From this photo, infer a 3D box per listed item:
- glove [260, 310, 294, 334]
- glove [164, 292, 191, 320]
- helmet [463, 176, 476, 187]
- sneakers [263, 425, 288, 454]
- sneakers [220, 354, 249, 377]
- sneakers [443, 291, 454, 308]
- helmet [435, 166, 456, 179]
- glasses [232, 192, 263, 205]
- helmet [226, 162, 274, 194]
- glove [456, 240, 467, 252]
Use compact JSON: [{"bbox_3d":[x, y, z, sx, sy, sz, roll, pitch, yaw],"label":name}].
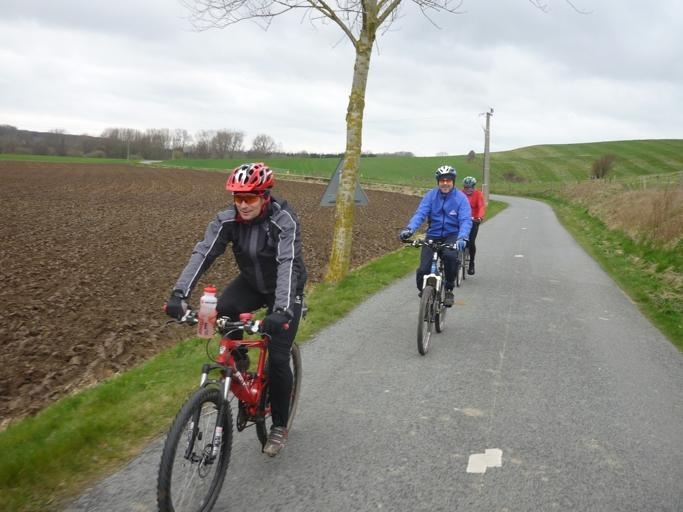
[{"bbox_3d":[-0.515,0.512,3.862,0.140,0.091,0.210,11,23,15],"label":"glove"},{"bbox_3d":[-1.320,0.355,3.876,0.173,0.248,0.089,-5,-18,-22],"label":"glove"},{"bbox_3d":[2.955,-1.768,11.270,0.248,0.295,0.317,-1,-4,13],"label":"helmet"},{"bbox_3d":[-0.584,1.646,4.338,0.142,0.076,0.252,1,44,24],"label":"sneakers"},{"bbox_3d":[-0.872,0.925,4.157,0.127,0.119,0.174,1,-3,1],"label":"sneakers"},{"bbox_3d":[1.684,0.665,7.678,0.152,0.250,0.240,1,-6,9],"label":"sneakers"},{"bbox_3d":[1.641,-1.372,7.698,0.226,0.219,0.324,1,-2,18],"label":"helmet"},{"bbox_3d":[-0.784,-0.479,4.071,0.248,0.095,0.115,0,11,-3],"label":"glasses"},{"bbox_3d":[-0.739,-0.663,4.130,0.236,0.188,0.376,1,15,16],"label":"helmet"},{"bbox_3d":[1.758,-0.156,7.158,0.125,0.107,0.180,0,14,8],"label":"glove"}]
